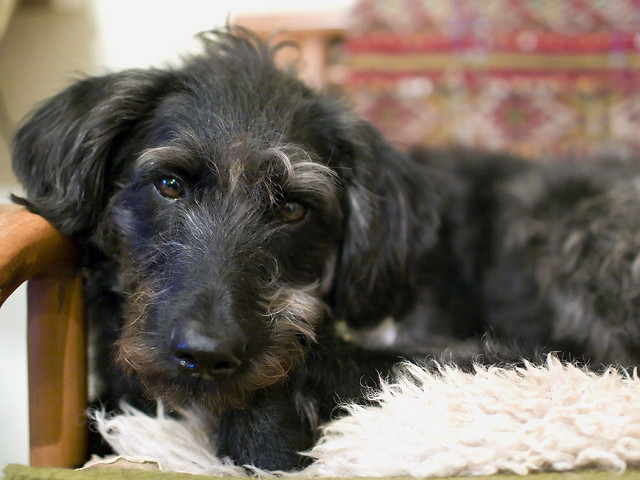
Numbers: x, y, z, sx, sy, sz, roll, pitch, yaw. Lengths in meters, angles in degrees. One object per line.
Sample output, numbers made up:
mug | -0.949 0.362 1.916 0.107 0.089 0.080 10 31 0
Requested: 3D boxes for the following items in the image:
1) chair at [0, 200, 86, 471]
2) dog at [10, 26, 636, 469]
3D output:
chair | -0.737 0.270 2.165 0.206 0.744 0.282 -6 9 -17
dog | 0.127 0.013 2.427 1.744 0.767 1.308 7 -2 -37
